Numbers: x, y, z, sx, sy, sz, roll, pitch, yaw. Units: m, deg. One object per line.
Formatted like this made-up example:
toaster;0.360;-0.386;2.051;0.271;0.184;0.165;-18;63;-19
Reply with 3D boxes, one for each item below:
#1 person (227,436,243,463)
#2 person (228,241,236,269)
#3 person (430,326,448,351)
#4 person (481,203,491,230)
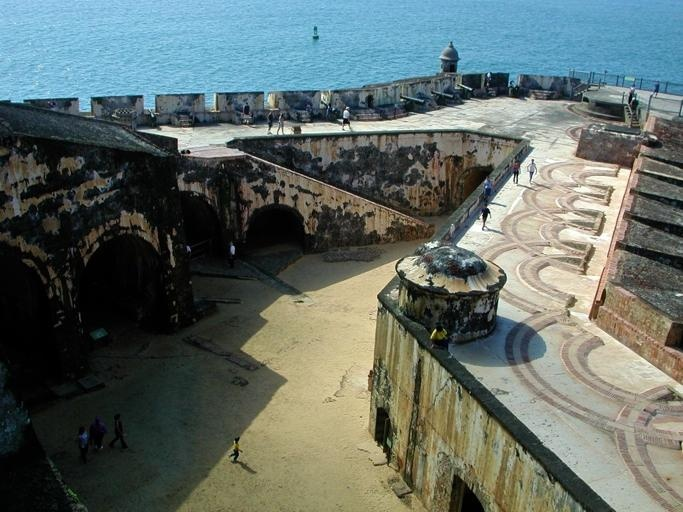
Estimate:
person;-3.430;6.308;16.821;0.450;0.862;0.389;-28;42;-32
person;-6.093;-0.205;28.893;0.454;1.350;1.583;-7;24;-12
person;2.689;2.302;14.303;0.523;0.707;0.411;15;55;24
person;6.545;-1.836;23.559;0.349;1.011;1.215;6;24;16
